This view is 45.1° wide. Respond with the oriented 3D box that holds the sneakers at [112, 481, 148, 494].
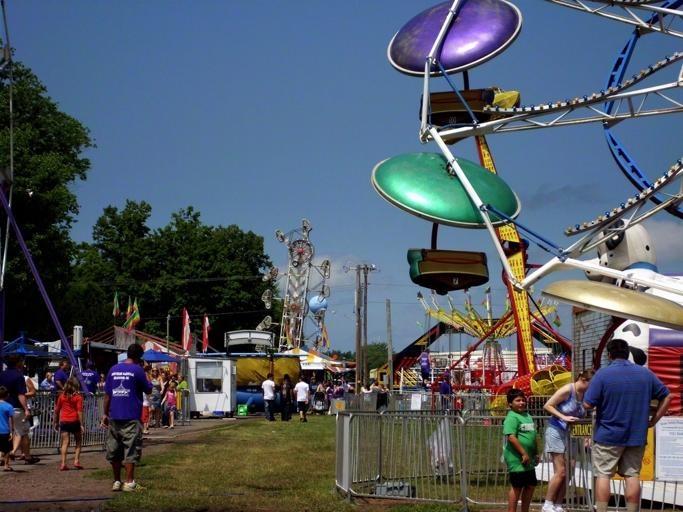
[{"bbox_3d":[-3.778,4.083,14.624,0.555,0.250,0.222,5,3,-10],"label":"sneakers"}]
